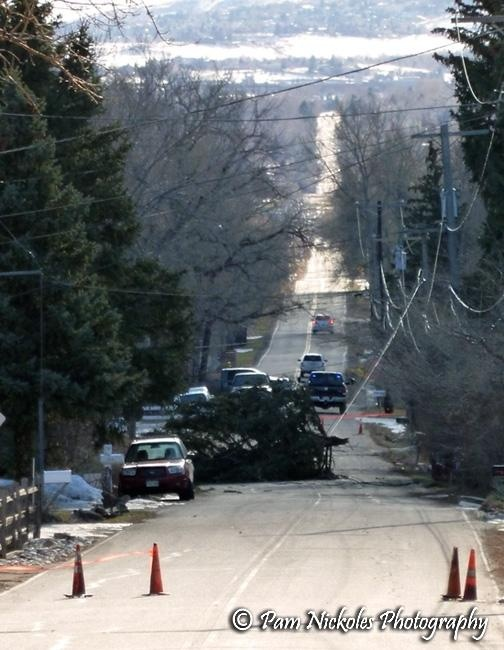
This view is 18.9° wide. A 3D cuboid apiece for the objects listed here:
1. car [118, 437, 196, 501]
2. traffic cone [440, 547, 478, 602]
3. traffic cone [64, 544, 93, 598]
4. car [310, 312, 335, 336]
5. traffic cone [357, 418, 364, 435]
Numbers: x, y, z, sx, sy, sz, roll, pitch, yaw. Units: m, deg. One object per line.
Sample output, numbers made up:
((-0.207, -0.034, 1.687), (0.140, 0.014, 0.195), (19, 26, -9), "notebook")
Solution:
((-2.058, 3.013, 32.250), (1.463, 1.301, 1.649), (-1, -4, 2), "car")
((2.783, 3.313, 20.267), (0.600, 0.966, 0.506), (1, -7, 0), "traffic cone")
((-2.338, 3.223, 20.175), (0.372, 0.683, 0.396), (-2, 1, -24), "traffic cone")
((4.365, -0.267, 92.830), (1.036, 1.106, 1.947), (0, 9, 2), "car")
((3.880, 3.480, 53.900), (0.302, 0.511, 0.311), (-1, 1, 44), "traffic cone")
